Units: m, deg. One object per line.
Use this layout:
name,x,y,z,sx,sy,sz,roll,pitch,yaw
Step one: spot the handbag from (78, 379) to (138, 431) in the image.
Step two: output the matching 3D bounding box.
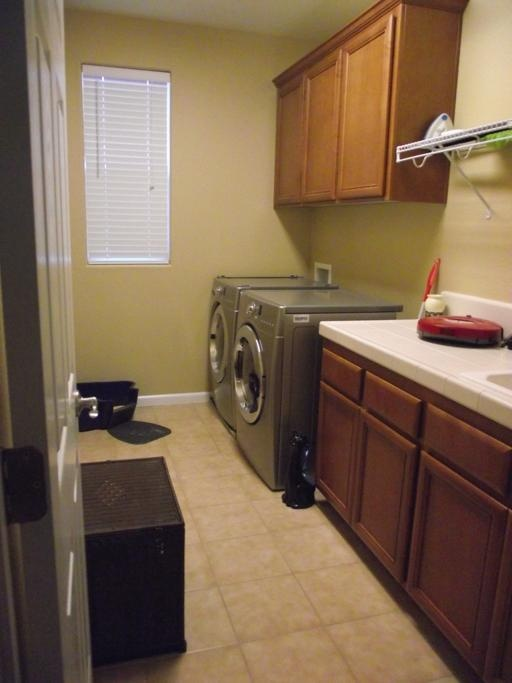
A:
handbag,-0.925,0.413,3.202,0.373,0.317,0.308,0,8,-21

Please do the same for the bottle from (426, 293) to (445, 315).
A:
bottle,0.798,-0.161,2.313,0.067,0.112,0.076,0,-4,-9

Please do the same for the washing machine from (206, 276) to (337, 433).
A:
washing machine,-0.003,-0.132,3.714,0.743,1.508,0.874,-1,12,-15

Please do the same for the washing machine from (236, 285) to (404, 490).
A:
washing machine,0.253,0.038,3.091,0.749,1.556,0.910,0,11,-8

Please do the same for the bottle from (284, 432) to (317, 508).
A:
bottle,0.215,0.618,2.434,0.146,0.355,0.075,-2,8,-21
